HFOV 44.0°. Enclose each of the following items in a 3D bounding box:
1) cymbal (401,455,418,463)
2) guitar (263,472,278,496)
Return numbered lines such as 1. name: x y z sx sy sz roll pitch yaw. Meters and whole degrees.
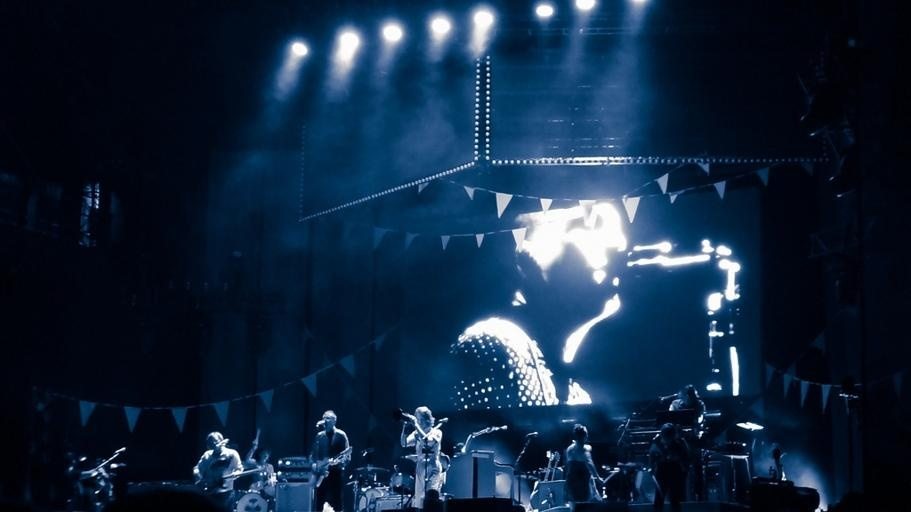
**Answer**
1. cymbal: -0.744 3.497 19.327 0.248 0.160 0.276 9 -11 -30
2. guitar: -3.169 3.965 19.464 0.254 0.339 0.125 -1 -47 1
